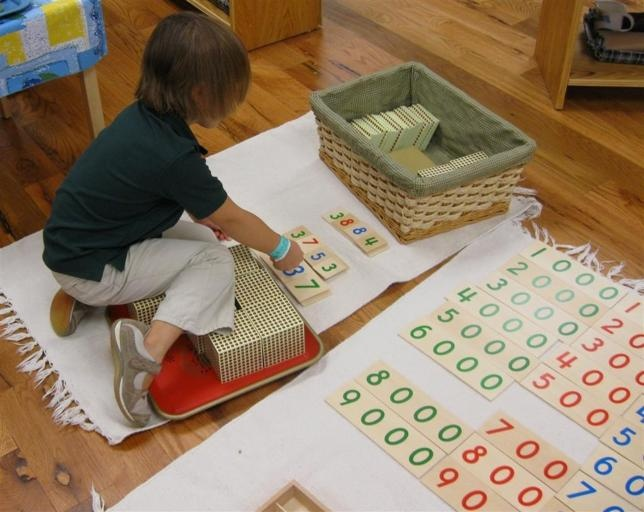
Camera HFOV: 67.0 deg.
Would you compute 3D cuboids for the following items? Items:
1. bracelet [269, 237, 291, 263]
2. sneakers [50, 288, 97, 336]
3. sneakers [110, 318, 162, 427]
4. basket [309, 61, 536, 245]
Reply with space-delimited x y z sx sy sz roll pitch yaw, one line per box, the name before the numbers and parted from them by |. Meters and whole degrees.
bracelet | -0.101 -0.016 1.221 0.023 0.057 0.055 44 66 2
sneakers | -0.635 0.132 1.266 0.090 0.051 0.130 21 41 -9
sneakers | -0.403 0.254 1.101 0.123 0.241 0.098 -6 9 2
basket | 0.263 -0.299 1.740 0.595 0.282 0.743 -24 51 -20
